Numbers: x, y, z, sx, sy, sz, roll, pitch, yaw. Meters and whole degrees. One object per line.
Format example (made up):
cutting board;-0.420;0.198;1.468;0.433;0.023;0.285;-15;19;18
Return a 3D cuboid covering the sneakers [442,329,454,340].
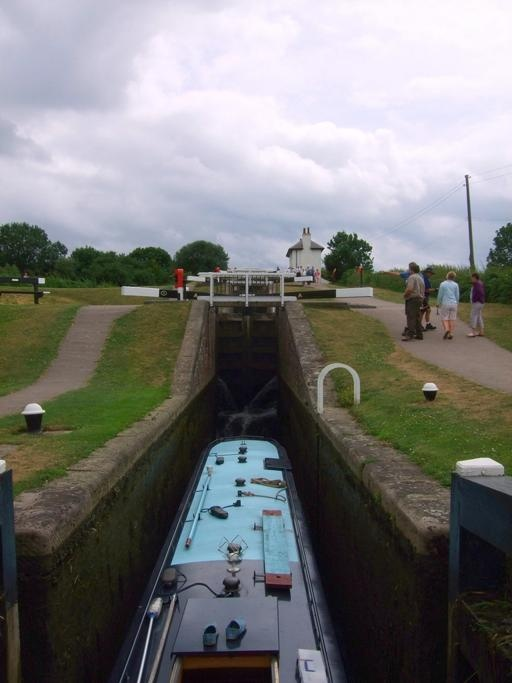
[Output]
sneakers;4.567;-0.162;13.237;0.122;0.145;0.341;-5;-11;6

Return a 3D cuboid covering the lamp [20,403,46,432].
lamp;-3.083;1.025;7.838;0.370;0.411;0.382;0;7;-12

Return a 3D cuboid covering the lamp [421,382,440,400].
lamp;2.634;0.756;8.475;0.251;0.262;0.272;6;11;35

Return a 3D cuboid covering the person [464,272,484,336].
person;5.136;-0.832;13.019;0.346;1.537;2.058;0;5;22
